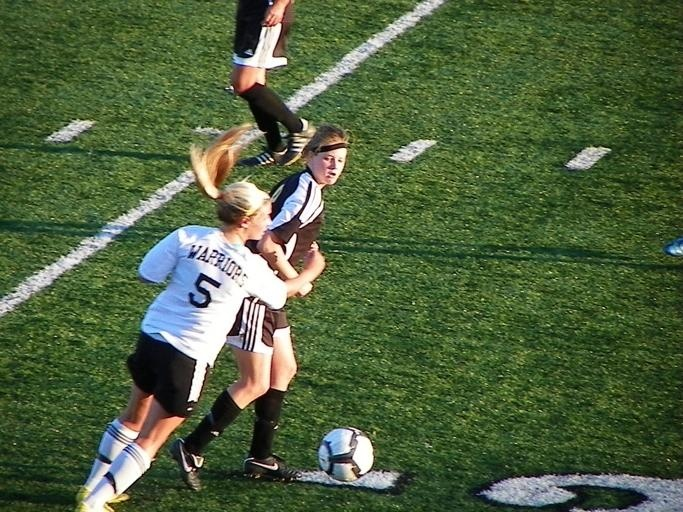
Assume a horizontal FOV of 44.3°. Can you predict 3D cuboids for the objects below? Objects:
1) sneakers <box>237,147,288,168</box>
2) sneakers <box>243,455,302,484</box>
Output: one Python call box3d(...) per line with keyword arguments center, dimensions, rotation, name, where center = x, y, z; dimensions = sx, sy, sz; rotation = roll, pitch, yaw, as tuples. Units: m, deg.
box3d(center=(-0.676, -0.859, 7.242), dimensions=(0.591, 0.140, 0.126), rotation=(-1, 36, 0), name="sneakers")
box3d(center=(-0.380, 1.401, 5.516), dimensions=(0.535, 0.134, 0.131), rotation=(3, 22, -6), name="sneakers")
